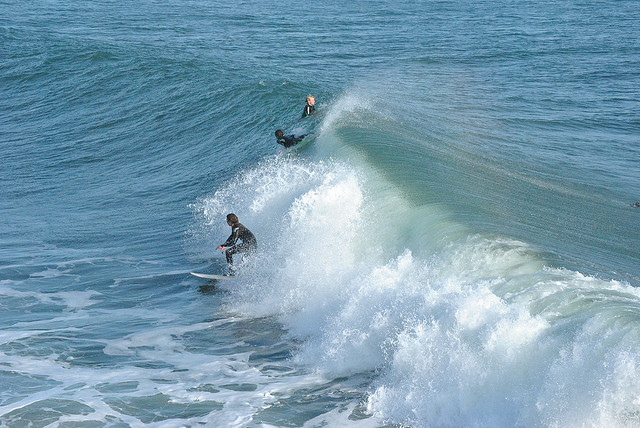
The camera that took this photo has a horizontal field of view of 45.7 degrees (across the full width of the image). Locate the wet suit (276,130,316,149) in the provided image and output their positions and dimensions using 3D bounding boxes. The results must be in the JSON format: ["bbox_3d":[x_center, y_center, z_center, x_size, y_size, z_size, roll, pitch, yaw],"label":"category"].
[{"bbox_3d":[-0.786,-2.505,25.246,1.764,0.510,0.438,-6,8,23],"label":"wet suit"}]

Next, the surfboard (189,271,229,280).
[{"bbox_3d":[-3.132,1.732,21.423,1.412,0.172,0.083,4,55,21],"label":"surfboard"}]

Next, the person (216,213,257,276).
[{"bbox_3d":[-2.342,0.928,21.218,1.041,1.801,1.072,14,43,-3],"label":"person"}]

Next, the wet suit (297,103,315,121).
[{"bbox_3d":[-0.496,-3.648,27.259,0.307,0.888,0.484,1,73,-20],"label":"wet suit"}]

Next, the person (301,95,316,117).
[{"bbox_3d":[-0.426,-3.863,27.327,0.483,1.119,0.484,-2,72,-13],"label":"person"}]
